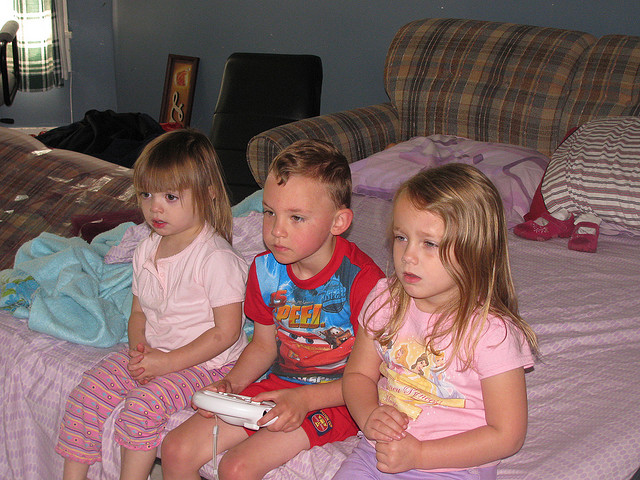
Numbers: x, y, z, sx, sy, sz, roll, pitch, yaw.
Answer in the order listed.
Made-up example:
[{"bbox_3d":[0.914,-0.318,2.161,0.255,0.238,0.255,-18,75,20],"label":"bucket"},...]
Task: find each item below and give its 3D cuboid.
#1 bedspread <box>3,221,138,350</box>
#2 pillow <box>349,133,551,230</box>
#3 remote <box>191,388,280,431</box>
[{"bbox_3d":[-0.734,0.146,1.433,0.355,0.098,0.349,10,47,2],"label":"bedspread"},{"bbox_3d":[0.659,-0.251,2.126,0.669,0.151,0.745,-9,27,3],"label":"pillow"},{"bbox_3d":[-0.183,0.332,1.050,0.150,0.044,0.091,16,-1,10],"label":"remote"}]
